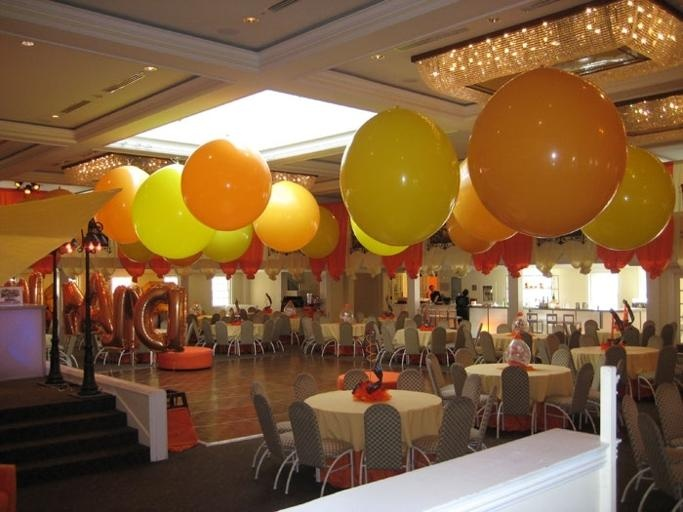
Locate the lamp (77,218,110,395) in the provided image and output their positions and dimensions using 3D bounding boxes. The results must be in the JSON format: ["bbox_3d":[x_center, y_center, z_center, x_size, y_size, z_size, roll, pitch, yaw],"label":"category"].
[{"bbox_3d":[-3.790,0.738,7.279,0.496,2.706,0.637,5,9,-1],"label":"lamp"}]

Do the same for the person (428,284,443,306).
[{"bbox_3d":[3.357,1.340,17.492,0.437,0.642,1.715,-1,-4,11],"label":"person"}]

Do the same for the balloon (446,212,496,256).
[{"bbox_3d":[1.286,-0.198,4.858,0.443,0.369,0.457,5,-12,-9],"label":"balloon"}]

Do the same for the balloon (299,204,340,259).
[{"bbox_3d":[-0.160,-0.267,5.565,0.469,0.624,0.494,1,16,6],"label":"balloon"}]

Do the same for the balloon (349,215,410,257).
[{"bbox_3d":[0.505,-0.237,5.159,0.491,0.371,0.485,-6,13,-44],"label":"balloon"}]

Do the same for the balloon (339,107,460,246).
[{"bbox_3d":[0.289,-0.465,3.211,0.709,0.952,0.732,0,0,-7],"label":"balloon"}]

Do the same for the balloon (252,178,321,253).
[{"bbox_3d":[-0.516,-0.400,4.766,0.580,0.786,0.623,-3,2,-7],"label":"balloon"}]

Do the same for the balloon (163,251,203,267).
[{"bbox_3d":[-1.698,0.042,5.488,0.307,0.134,0.313,2,-4,-34],"label":"balloon"}]

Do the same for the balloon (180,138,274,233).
[{"bbox_3d":[-0.932,-0.543,4.017,0.612,0.809,0.641,-15,12,-16],"label":"balloon"}]

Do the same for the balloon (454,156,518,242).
[{"bbox_3d":[1.193,-0.574,4.184,0.549,0.621,0.596,6,0,16],"label":"balloon"}]
